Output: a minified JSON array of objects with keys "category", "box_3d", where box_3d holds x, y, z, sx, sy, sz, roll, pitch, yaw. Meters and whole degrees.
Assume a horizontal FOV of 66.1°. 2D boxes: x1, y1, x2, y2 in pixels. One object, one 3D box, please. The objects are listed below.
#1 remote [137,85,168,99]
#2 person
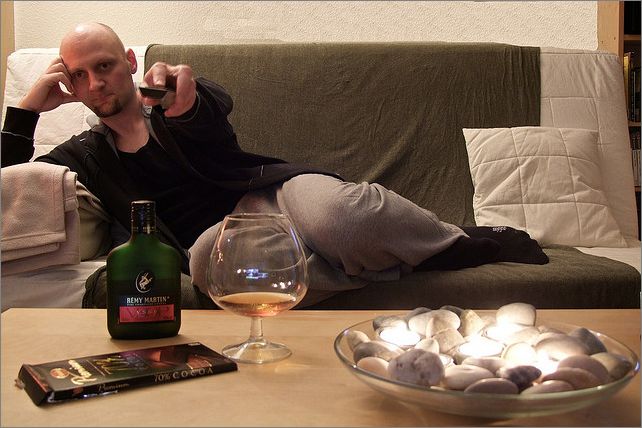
[{"category":"remote","box_3d":[-0.469,-0.341,1.386,0.070,0.034,0.087,2,11,7]},{"category":"person","box_3d":[-0.260,-0.120,1.602,1.543,0.697,0.981,1,2,-15]}]
